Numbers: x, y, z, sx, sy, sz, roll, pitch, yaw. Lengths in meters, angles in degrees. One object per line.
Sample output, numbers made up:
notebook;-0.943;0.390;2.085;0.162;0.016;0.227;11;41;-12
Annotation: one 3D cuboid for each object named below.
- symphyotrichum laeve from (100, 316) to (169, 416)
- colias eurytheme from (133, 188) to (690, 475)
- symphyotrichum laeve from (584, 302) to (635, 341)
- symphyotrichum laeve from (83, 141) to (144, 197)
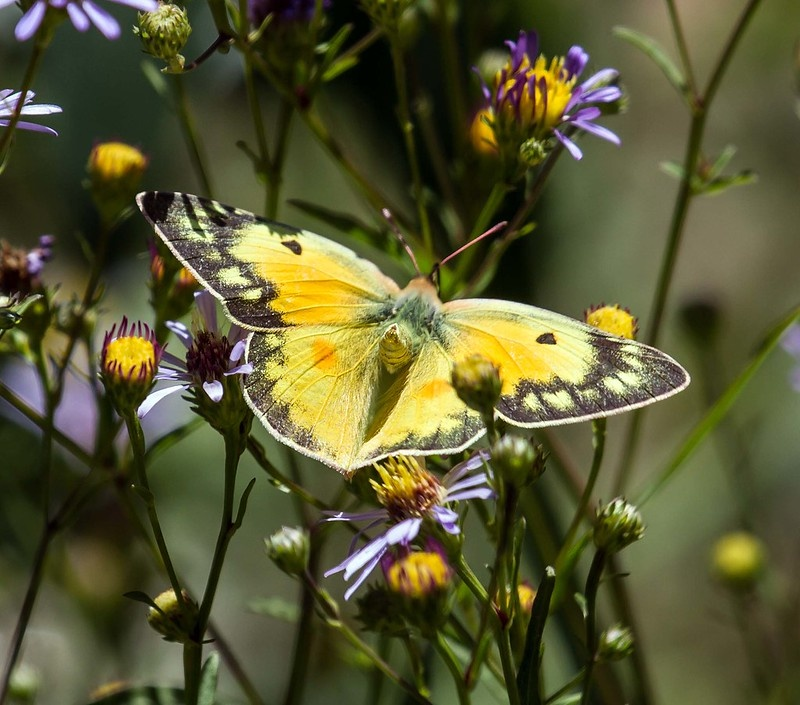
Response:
symphyotrichum laeve;-0.320;0.007;1.177;0.056;0.073;0.130;-3;-78;-6
colias eurytheme;0.005;-0.027;1.347;0.772;0.515;0.264;16;-58;16
symphyotrichum laeve;0.273;-0.049;1.265;0.048;0.049;0.034;6;-69;-48
symphyotrichum laeve;-0.399;-0.267;1.369;0.080;0.081;0.036;3;-34;-15
